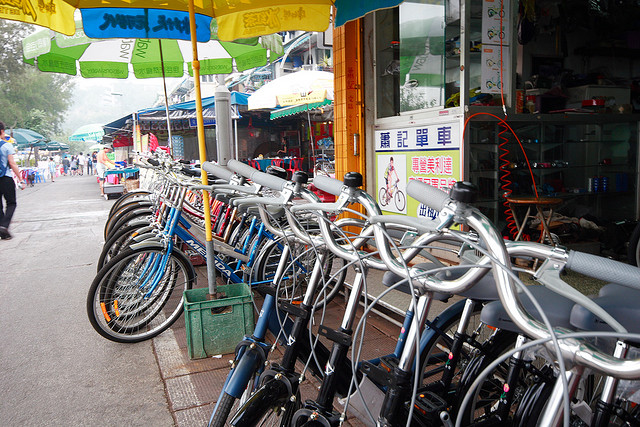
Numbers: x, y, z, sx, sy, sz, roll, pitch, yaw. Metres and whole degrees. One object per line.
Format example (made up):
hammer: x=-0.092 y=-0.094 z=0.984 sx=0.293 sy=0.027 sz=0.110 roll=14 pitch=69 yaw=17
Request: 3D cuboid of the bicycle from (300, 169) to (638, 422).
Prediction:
bicycle: x=0.807 y=0.320 z=2.011 sx=1.416 sy=0.941 sz=1.071 roll=4 pitch=8 yaw=-41

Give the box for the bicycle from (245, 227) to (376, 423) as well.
bicycle: x=-0.166 y=0.683 z=2.374 sx=0.713 sy=1.210 sz=0.575 roll=1 pitch=9 yaw=-25

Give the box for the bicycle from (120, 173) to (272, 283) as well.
bicycle: x=-1.152 y=0.311 z=4.436 sx=1.475 sy=0.931 sz=0.921 roll=27 pitch=4 yaw=-17

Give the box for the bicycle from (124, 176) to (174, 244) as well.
bicycle: x=-1.665 y=0.006 z=4.285 sx=0.161 sy=0.615 sz=0.613 roll=20 pitch=26 yaw=-32

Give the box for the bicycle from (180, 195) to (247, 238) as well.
bicycle: x=-1.051 y=0.074 z=4.305 sx=0.433 sy=0.501 sz=0.788 roll=-2 pitch=8 yaw=-37
